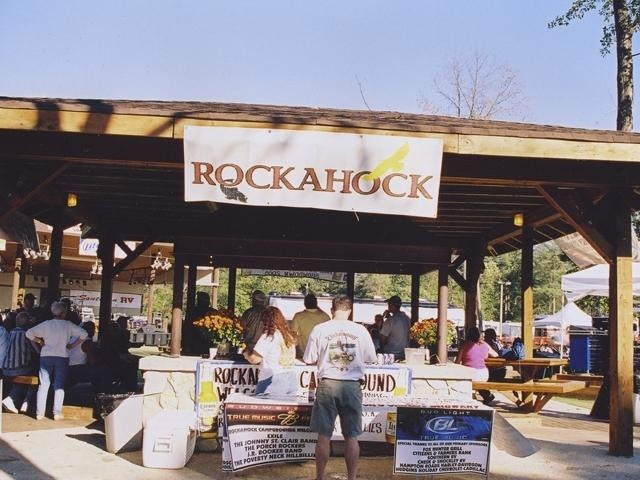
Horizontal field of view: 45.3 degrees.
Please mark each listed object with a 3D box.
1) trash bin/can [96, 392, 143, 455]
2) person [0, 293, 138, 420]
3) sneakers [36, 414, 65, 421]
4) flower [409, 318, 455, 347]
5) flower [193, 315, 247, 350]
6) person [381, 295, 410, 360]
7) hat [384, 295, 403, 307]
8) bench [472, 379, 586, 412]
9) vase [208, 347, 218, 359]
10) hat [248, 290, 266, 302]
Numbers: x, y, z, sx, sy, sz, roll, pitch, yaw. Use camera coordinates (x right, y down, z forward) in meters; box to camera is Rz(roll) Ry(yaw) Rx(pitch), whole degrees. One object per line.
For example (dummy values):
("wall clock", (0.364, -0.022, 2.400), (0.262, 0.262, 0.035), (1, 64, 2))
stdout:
("trash bin/can", (-2.901, 2.751, 11.437), (0.729, 1.018, 0.620), (2, -4, -9))
("person", (-4.509, 2.076, 13.348), (0.930, 1.994, 0.890), (0, -8, 3))
("sneakers", (-4.521, 2.999, 12.971), (0.278, 0.090, 0.177), (-3, -5, 22))
("flower", (1.910, 1.669, 14.035), (0.642, 0.482, 0.661), (3, -6, -12))
("flower", (-1.661, 1.513, 12.749), (0.563, 0.412, 0.581), (2, -6, 28))
("person", (1.420, 1.595, 13.970), (0.618, 1.134, 0.453), (7, -10, -41))
("hat", (1.319, 1.099, 13.963), (0.295, 0.180, 0.221), (17, 11, 38))
("bench", (4.087, 3.008, 14.783), (1.890, 0.623, 2.588), (-3, -9, 21))
("vase", (-1.727, 1.837, 12.472), (0.143, 0.160, 0.144), (2, -3, -31))
("hat", (-1.026, 0.940, 12.919), (0.187, 0.218, 0.209), (-2, 4, -30))
